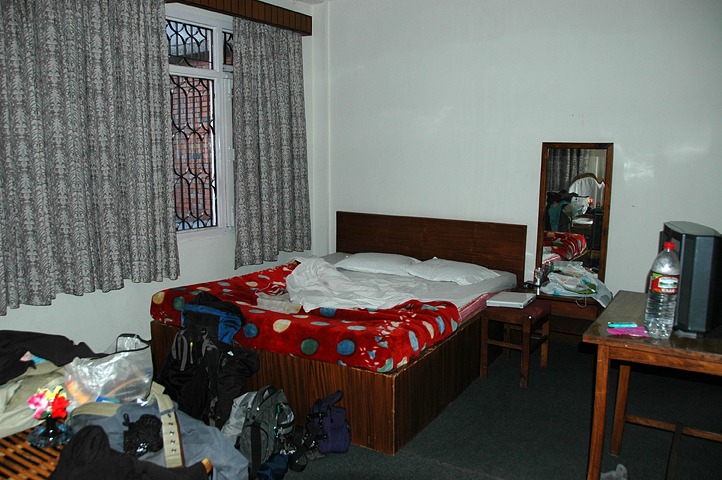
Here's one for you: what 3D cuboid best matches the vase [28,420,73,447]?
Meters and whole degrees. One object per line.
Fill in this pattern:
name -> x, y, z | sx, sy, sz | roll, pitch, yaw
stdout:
vase -> -1.652, 1.038, 2.758 | 0.163, 0.078, 0.164 | 5, 10, 7

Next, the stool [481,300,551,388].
stool -> 1.475, 0.779, 4.932 | 0.635, 0.883, 0.939 | 2, 5, 33

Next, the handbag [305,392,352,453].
handbag -> -0.222, 1.311, 3.863 | 0.398, 0.431, 0.334 | 2, 2, 11

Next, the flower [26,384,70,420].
flower -> -1.718, 0.902, 2.857 | 0.195, 0.076, 0.197 | 5, 34, 1

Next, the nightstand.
nightstand -> 2.004, 0.697, 5.059 | 0.833, 0.535, 0.467 | 4, 8, 36

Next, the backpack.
backpack -> -1.115, 0.887, 3.792 | 0.704, 0.873, 0.450 | 6, -11, 25
